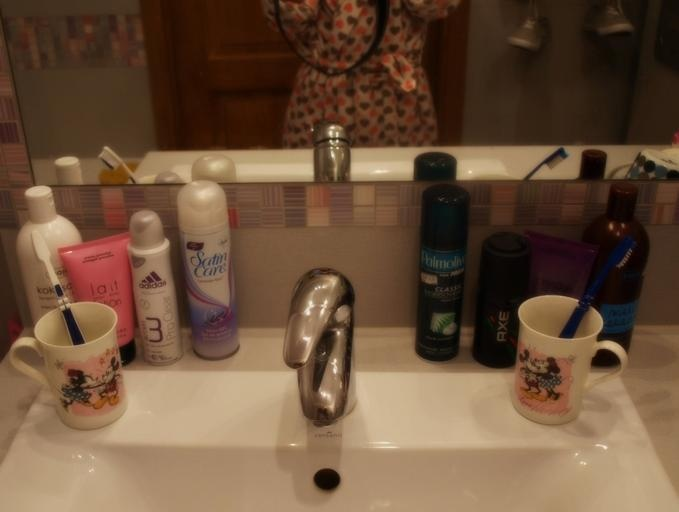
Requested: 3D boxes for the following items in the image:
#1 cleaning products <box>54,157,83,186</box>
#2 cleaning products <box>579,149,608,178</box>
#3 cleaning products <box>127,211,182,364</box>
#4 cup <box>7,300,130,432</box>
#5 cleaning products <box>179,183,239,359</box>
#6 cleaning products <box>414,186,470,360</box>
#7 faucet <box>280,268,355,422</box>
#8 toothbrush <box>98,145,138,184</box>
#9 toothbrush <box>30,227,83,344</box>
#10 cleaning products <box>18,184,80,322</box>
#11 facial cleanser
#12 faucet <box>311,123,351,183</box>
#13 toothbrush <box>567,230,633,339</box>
[{"bbox_3d":[-0.407,-0.127,0.808,0.038,0.044,0.039,5,21,13],"label":"cleaning products"},{"bbox_3d":[0.373,-0.137,0.809,0.039,0.045,0.039,7,28,8],"label":"cleaning products"},{"bbox_3d":[-0.252,0.050,0.784,0.069,0.210,0.071,2,30,-6],"label":"cleaning products"},{"bbox_3d":[-0.338,0.147,0.687,0.124,0.147,0.082,-18,31,-30],"label":"cup"},{"bbox_3d":[-0.187,0.027,0.768,0.075,0.262,0.053,-10,28,-18],"label":"cleaning products"},{"bbox_3d":[0.147,0.031,0.784,0.068,0.266,0.066,1,27,9],"label":"cleaning products"},{"bbox_3d":[-0.016,0.120,0.655,0.101,0.176,0.124,-2,31,-3],"label":"faucet"},{"bbox_3d":[-0.328,-0.139,0.801,0.026,0.069,0.016,-46,45,7],"label":"toothbrush"},{"bbox_3d":[-0.376,0.036,0.717,0.019,0.008,0.177,-23,66,-8],"label":"toothbrush"},{"bbox_3d":[-0.410,0.000,0.789,0.088,0.182,0.070,-13,33,-33],"label":"cleaning products"},{"bbox_3d":[-0.331,0.066,0.759,0.097,0.176,0.054,-17,19,-41],"label":"facial cleanser"},{"bbox_3d":[-0.009,-0.153,0.815,0.054,0.092,0.061,0,2,38],"label":"faucet"},{"bbox_3d":[0.318,0.046,0.669,0.103,0.127,0.019,-18,31,-30],"label":"toothbrush"}]
